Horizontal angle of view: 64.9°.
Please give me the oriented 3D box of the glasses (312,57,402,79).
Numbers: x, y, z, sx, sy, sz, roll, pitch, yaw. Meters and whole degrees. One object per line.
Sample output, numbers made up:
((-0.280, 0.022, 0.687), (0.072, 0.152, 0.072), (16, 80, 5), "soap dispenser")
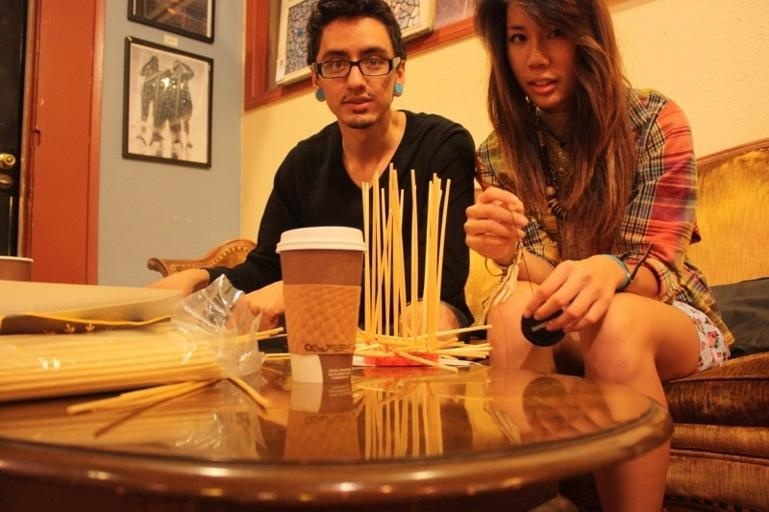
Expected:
((-0.091, -0.634, 2.040), (0.292, 0.076, 0.112), (0, 10, 2), "glasses")

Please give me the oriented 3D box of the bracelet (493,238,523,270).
((0.313, -0.003, 1.505), (0.068, 0.053, 0.070), (-8, -8, -10), "bracelet")

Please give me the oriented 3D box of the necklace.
((0.486, -0.246, 1.702), (0.093, 0.310, 0.044), (-15, -24, 14), "necklace")
